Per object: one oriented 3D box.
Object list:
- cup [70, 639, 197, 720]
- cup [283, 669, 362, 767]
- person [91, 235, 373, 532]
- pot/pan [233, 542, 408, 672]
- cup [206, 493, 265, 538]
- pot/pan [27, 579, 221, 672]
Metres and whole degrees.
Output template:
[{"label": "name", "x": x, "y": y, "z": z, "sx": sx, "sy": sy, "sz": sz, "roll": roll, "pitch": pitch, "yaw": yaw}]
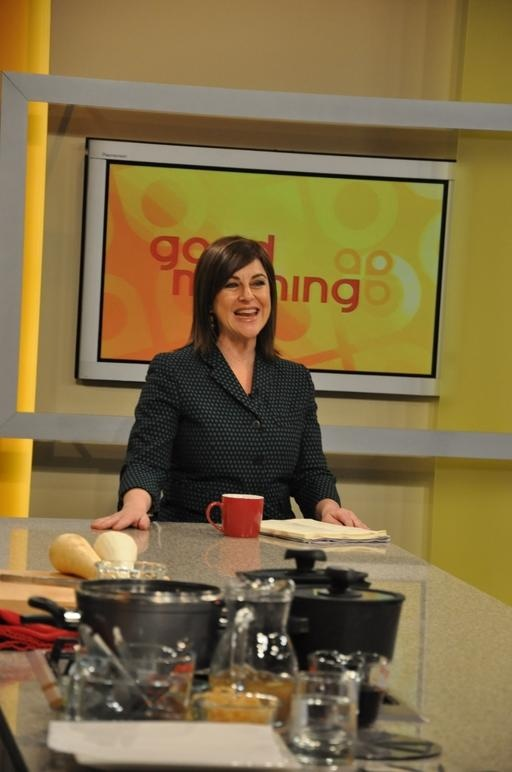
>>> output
[{"label": "cup", "x": -0.075, "y": 0.174, "z": 0.410, "sx": 0.073, "sy": 0.043, "sz": 0.032, "roll": 3, "pitch": 1, "yaw": -7}, {"label": "cup", "x": 0.032, "y": 0.198, "z": 0.419, "sx": 0.049, "sy": 0.054, "sz": 0.052, "roll": 1, "pitch": -1, "yaw": 0}, {"label": "person", "x": -0.076, "y": 0.084, "z": 2.001, "sx": 0.820, "sy": 0.989, "sz": 0.550, "roll": 8, "pitch": -4, "yaw": -28}, {"label": "pot/pan", "x": 0.065, "y": 0.173, "z": 0.563, "sx": 0.086, "sy": 0.064, "sz": 0.133, "roll": 1, "pitch": -6, "yaw": -13}, {"label": "cup", "x": -0.032, "y": 0.283, "z": 1.490, "sx": 0.090, "sy": 0.086, "sz": 0.107, "roll": 4, "pitch": 1, "yaw": 6}, {"label": "pot/pan", "x": -0.101, "y": 0.164, "z": 0.491, "sx": 0.115, "sy": 0.040, "sz": 0.072, "roll": 0, "pitch": -3, "yaw": 9}]
